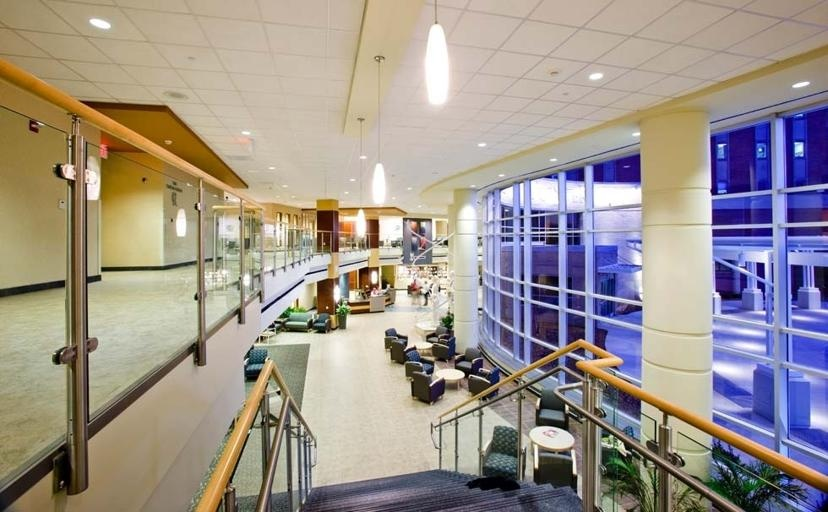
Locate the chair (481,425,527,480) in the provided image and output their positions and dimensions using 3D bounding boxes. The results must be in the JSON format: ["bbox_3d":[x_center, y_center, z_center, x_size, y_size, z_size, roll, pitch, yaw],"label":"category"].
[{"bbox_3d":[1.620,3.612,9.591,0.745,0.871,0.899,5,2,27],"label":"chair"}]

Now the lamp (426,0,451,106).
[{"bbox_3d":[0.247,-2.080,5.703,0.227,0.876,0.215,0,2,-3],"label":"lamp"}]

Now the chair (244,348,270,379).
[{"bbox_3d":[-4.450,3.129,14.973,0.704,0.795,0.876,-1,4,-22],"label":"chair"}]

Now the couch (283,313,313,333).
[{"bbox_3d":[-4.534,2.651,21.075,0.982,0.631,0.733,-1,-9,0],"label":"couch"}]

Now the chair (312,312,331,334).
[{"bbox_3d":[-3.601,2.671,20.907,0.612,0.682,0.675,-1,-6,-1],"label":"chair"}]

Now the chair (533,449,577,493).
[{"bbox_3d":[2.427,3.694,9.190,0.700,0.592,0.553,0,2,12],"label":"chair"}]
